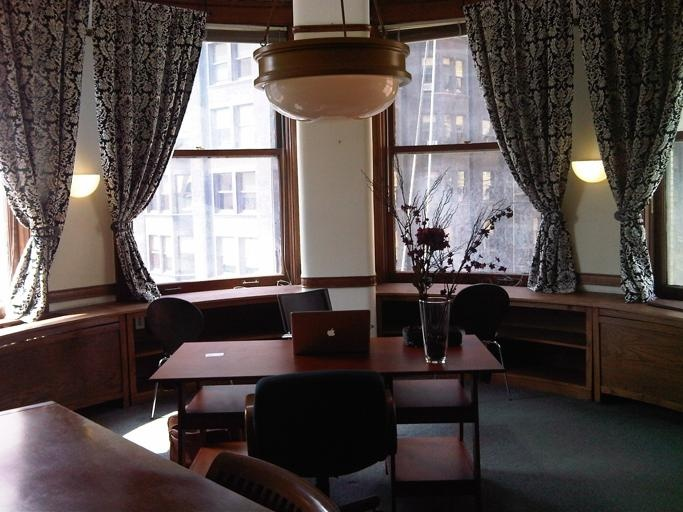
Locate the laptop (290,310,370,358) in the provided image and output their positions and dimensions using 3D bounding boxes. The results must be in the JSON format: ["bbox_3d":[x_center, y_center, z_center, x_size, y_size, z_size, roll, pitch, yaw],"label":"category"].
[{"bbox_3d":[-0.080,0.456,3.380,0.394,0.261,0.289,0,3,-1],"label":"laptop"}]

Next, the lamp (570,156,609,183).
[{"bbox_3d":[2.105,-0.724,4.762,0.198,0.134,0.208,0,4,9],"label":"lamp"}]

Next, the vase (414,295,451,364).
[{"bbox_3d":[0.540,0.422,3.281,0.165,0.363,0.226,0,10,8],"label":"vase"}]

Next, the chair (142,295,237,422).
[{"bbox_3d":[-1.134,0.735,4.039,0.576,1.186,0.555,10,13,-27],"label":"chair"}]

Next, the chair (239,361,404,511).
[{"bbox_3d":[-0.076,0.763,2.649,0.523,0.669,0.532,0,11,2],"label":"chair"}]

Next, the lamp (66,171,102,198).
[{"bbox_3d":[-2.166,-0.600,4.749,0.196,0.145,0.202,0,3,34],"label":"lamp"}]

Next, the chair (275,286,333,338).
[{"bbox_3d":[-0.304,0.416,4.403,0.322,0.599,0.381,-4,-3,-20],"label":"chair"}]
